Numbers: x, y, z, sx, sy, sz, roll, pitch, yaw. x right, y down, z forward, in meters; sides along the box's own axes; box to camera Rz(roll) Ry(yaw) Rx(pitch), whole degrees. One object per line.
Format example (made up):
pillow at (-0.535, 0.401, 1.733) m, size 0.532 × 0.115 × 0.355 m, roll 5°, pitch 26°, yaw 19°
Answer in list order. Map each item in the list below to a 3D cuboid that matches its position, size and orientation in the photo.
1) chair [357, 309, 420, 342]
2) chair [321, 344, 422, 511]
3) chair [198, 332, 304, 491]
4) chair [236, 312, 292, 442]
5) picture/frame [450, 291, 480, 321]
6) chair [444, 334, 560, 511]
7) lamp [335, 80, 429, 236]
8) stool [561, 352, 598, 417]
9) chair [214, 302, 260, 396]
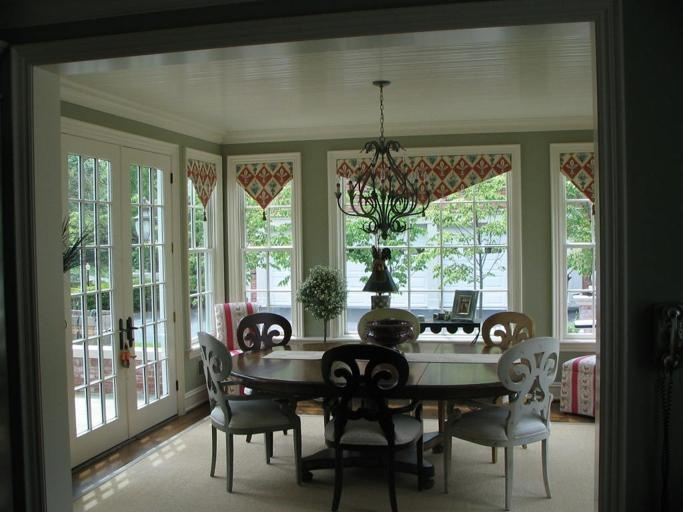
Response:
chair at (0.431, 0.655, 5.524) m, size 0.522 × 0.358 × 0.535 m, roll -1°, pitch 7°, yaw 8°
chair at (0.234, 1.117, 4.219) m, size 0.707 × 1.176 × 0.731 m, roll 1°, pitch 6°, yaw 13°
chair at (-0.690, 1.149, 4.562) m, size 0.743 × 1.171 × 0.746 m, roll 0°, pitch 2°, yaw 40°
chair at (-0.615, 1.002, 5.462) m, size 0.587 × 0.970 × 0.640 m, roll -5°, pitch -10°, yaw 9°
picture/frame at (1.246, 0.500, 6.076) m, size 0.272 × 0.379 × 0.048 m, roll 6°, pitch -20°, yaw 26°
chair at (1.120, 1.127, 4.175) m, size 0.786 × 1.168 × 0.453 m, roll 1°, pitch 6°, yaw 8°
lamp at (0.335, -0.791, 4.847) m, size 0.706 × 1.270 × 0.705 m, roll 4°, pitch 8°, yaw 43°
stool at (2.253, 1.256, 5.677) m, size 0.292 × 0.583 × 0.476 m, roll 2°, pitch 7°, yaw 19°
chair at (-1.052, 0.933, 6.035) m, size 0.507 × 0.834 × 0.543 m, roll -7°, pitch 7°, yaw -13°
